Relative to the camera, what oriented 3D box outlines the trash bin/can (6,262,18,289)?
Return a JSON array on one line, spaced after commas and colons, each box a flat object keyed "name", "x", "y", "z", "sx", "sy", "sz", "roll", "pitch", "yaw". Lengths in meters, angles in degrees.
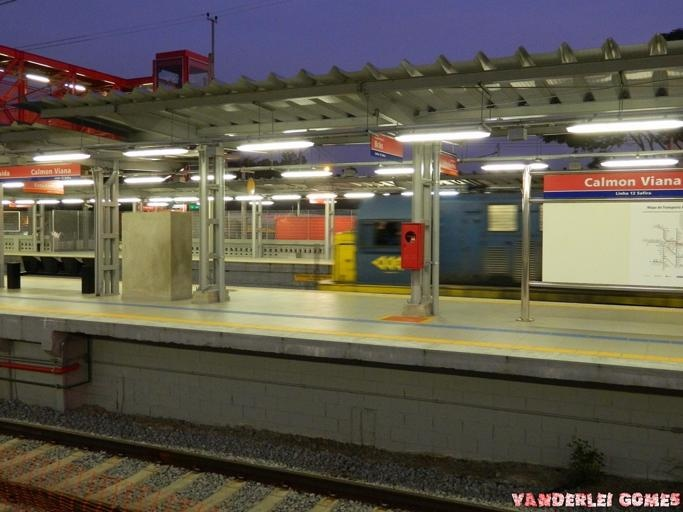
[{"name": "trash bin/can", "x": -10.359, "y": 0.652, "z": 18.778, "sx": 0.416, "sy": 0.748, "sz": 0.579, "roll": -8, "pitch": 13, "yaw": -25}]
